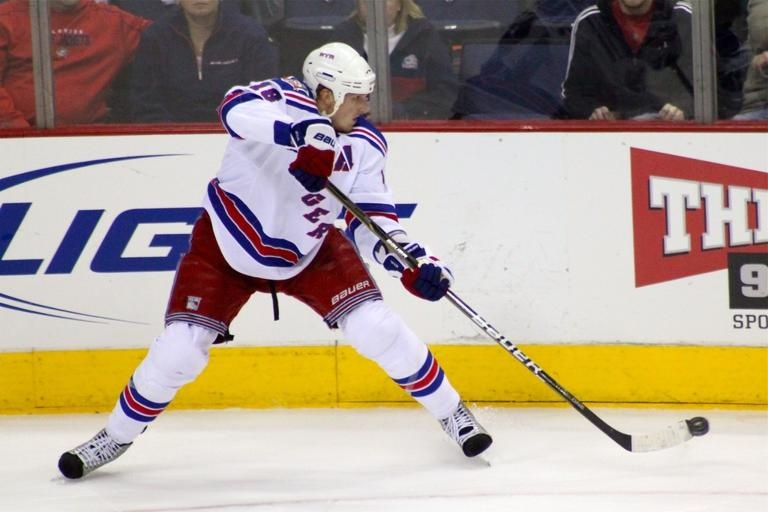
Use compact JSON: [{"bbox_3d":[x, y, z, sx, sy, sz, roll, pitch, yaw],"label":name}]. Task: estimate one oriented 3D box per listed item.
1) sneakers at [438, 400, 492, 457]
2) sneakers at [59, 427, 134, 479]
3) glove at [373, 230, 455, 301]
[{"bbox_3d":[0.381,0.880,6.503,0.166,0.147,0.413,42,2,-24],"label":"sneakers"},{"bbox_3d":[-1.477,0.993,6.349,0.454,0.148,0.175,-29,6,-28],"label":"sneakers"},{"bbox_3d":[0.135,0.029,6.376,0.265,0.180,0.438,-21,53,-24],"label":"glove"}]
